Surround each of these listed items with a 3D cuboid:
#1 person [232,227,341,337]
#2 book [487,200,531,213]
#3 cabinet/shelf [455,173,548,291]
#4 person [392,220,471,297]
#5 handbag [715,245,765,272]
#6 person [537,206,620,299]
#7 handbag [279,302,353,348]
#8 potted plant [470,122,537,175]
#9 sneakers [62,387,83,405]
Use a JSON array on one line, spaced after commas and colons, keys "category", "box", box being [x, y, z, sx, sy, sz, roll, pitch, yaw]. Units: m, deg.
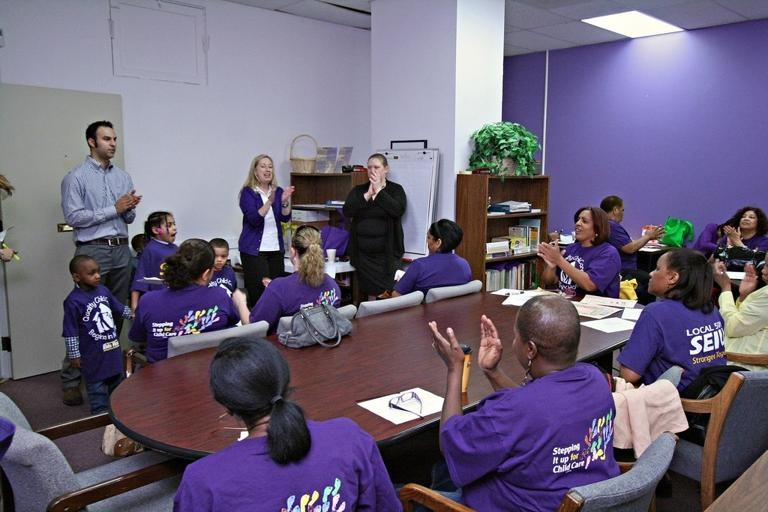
[{"category": "person", "box": [-0.793, 0.194, 4.141, 0.561, 1.033, 0.574, -12, 30, -38]}, {"category": "book", "box": [1.382, -0.542, 5.846, 0.585, 0.119, 0.188, -9, 12, -34]}, {"category": "cabinet/shelf", "box": [1.242, -0.248, 5.656, 0.486, 2.014, 1.117, 4, 7, 43]}, {"category": "person", "box": [0.422, 0.015, 4.646, 0.526, 1.013, 0.372, -6, 31, -28]}, {"category": "handbag", "box": [3.862, -0.007, 5.718, 0.501, 0.189, 0.452, 5, 24, 39]}, {"category": "person", "box": [1.638, -0.024, 4.445, 0.637, 0.755, 0.521, 5, 13, 34]}, {"category": "handbag", "box": [-0.440, 0.415, 3.312, 0.375, 0.238, 0.495, 10, 14, 36]}, {"category": "potted plant", "box": [1.238, -1.112, 5.621, 0.590, 0.436, 0.617, -3, 10, -28]}, {"category": "sneakers", "box": [-2.604, 1.169, 4.409, 0.112, 0.182, 0.177, -7, -12, 37]}]
